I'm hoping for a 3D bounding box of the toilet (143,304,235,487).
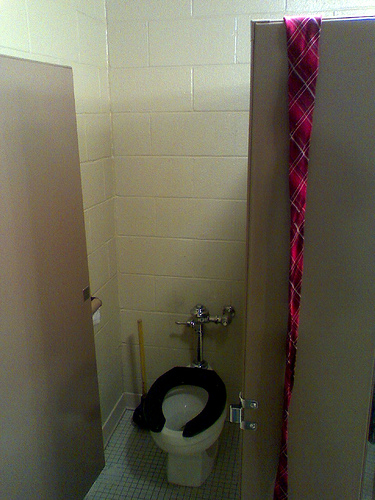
[{"bbox_3d":[0.021,0.663,1.987,0.307,0.653,0.592,4,20,20],"label":"toilet"}]

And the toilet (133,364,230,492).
[{"bbox_3d":[-0.004,0.798,1.992,0.315,0.352,0.490,0,13,12],"label":"toilet"}]

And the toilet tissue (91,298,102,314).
[{"bbox_3d":[-0.385,0.224,1.848,0.035,0.084,0.122,-3,13,-11],"label":"toilet tissue"}]
